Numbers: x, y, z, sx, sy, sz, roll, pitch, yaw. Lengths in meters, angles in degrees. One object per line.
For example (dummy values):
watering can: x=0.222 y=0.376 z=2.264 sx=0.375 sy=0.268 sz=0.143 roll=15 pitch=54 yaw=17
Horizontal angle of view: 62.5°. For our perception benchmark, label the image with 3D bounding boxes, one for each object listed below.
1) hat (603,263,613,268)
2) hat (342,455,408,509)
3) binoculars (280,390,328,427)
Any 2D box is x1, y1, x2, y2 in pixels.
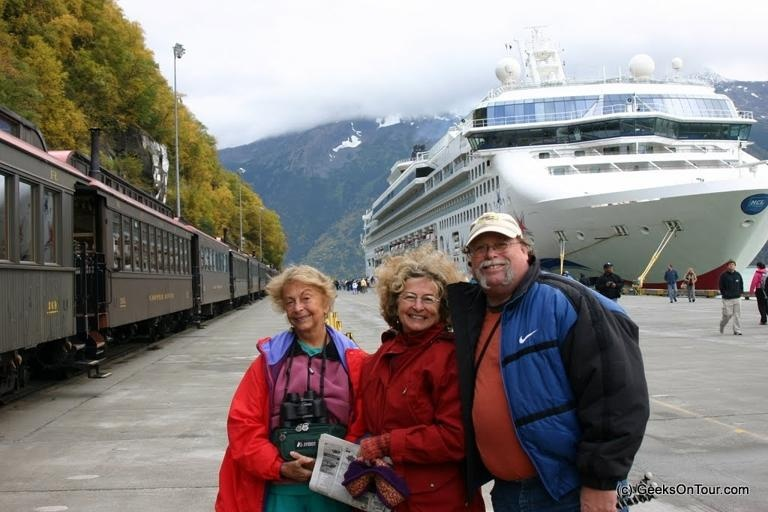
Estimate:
hat: x=8.472 y=0.352 z=23.829 sx=0.349 sy=0.154 sz=0.473 roll=3 pitch=6 yaw=18
hat: x=-0.027 y=1.594 z=4.496 sx=0.380 sy=0.167 sz=0.377 roll=25 pitch=-6 yaw=14
binoculars: x=-0.599 y=1.139 z=4.693 sx=0.282 sy=0.268 sz=0.101 roll=0 pitch=-2 yaw=-8
